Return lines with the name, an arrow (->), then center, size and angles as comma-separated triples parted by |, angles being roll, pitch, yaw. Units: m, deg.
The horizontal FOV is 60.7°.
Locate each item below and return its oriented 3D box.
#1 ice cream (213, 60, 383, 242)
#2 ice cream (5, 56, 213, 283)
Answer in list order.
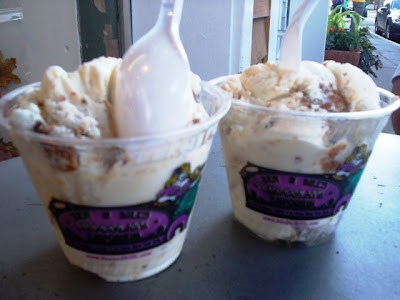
ice cream -> 0.208, -0.003, 0.861 | 0.362, 0.425, 0.286 | 4, 16, 7
ice cream -> -0.154, 0.045, 0.738 | 0.287, 0.521, 0.497 | 5, 22, 12
